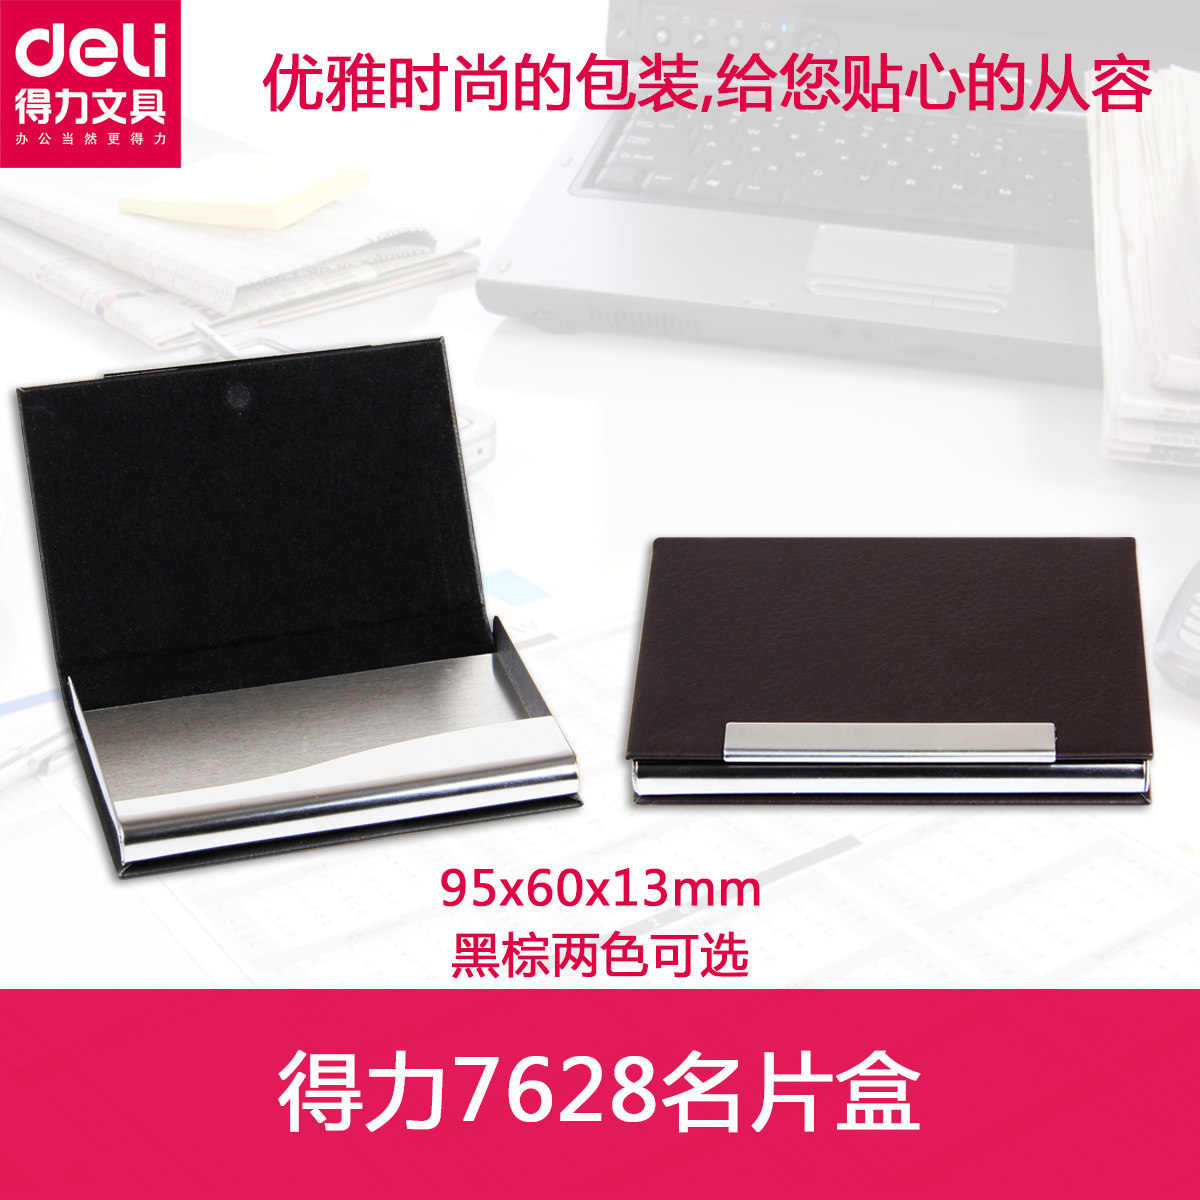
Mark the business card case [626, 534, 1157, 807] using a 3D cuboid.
[{"bbox_3d":[0.147,0.031,0.556,0.256,0.112,0.171,2,11,5],"label":"business card case"}]
